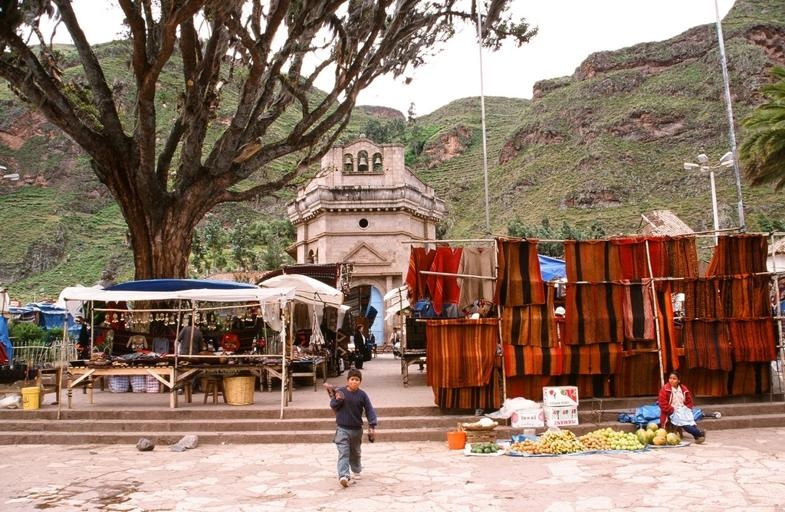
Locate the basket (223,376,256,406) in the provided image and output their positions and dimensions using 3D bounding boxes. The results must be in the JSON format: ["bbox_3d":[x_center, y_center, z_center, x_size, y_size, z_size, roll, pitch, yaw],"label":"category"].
[{"bbox_3d":[-4.166,3.714,19.634,0.835,0.553,0.792,-1,-11,2],"label":"basket"}]

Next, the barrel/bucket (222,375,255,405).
[{"bbox_3d":[-4.208,3.714,19.600,0.846,0.568,0.778,0,-9,0],"label":"barrel/bucket"}]

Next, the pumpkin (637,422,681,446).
[{"bbox_3d":[6.476,4.315,17.206,0.982,0.512,0.454,-5,-9,18],"label":"pumpkin"}]

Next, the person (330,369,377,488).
[{"bbox_3d":[-0.825,3.610,15.128,0.959,2.400,0.789,-2,-9,-3],"label":"person"}]

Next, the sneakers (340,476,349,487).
[{"bbox_3d":[-0.958,4.700,14.675,0.115,0.113,0.269,0,-40,-5],"label":"sneakers"}]

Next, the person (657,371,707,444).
[{"bbox_3d":[7.061,3.697,17.404,0.961,1.680,0.367,-5,-9,17],"label":"person"}]

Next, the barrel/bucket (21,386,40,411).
[{"bbox_3d":[-9.806,3.865,19.288,0.605,0.588,0.597,-2,-13,-1],"label":"barrel/bucket"}]

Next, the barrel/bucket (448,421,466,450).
[{"bbox_3d":[1.625,4.378,17.134,0.546,0.479,0.525,1,-8,0],"label":"barrel/bucket"}]

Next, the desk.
[{"bbox_3d":[-5.480,3.696,20.687,6.393,1.520,4.547,-3,-9,6],"label":"desk"}]

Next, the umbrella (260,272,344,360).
[{"bbox_3d":[-2.476,1.988,23.181,2.572,1.742,3.039,-1,3,-35],"label":"umbrella"}]
